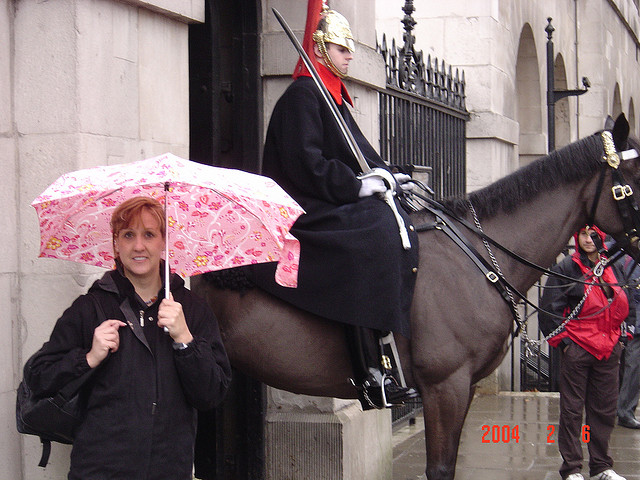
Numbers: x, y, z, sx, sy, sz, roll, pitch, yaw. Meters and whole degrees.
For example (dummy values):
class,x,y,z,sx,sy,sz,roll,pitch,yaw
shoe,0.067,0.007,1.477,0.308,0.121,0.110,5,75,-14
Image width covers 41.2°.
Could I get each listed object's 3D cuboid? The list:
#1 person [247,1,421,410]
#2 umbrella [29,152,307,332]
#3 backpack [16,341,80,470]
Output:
class,x,y,z,sx,sy,sz,roll,pitch,yaw
person,0.115,-0.268,5.471,0.992,2.719,0.459,-4,-5,10
umbrella,-0.772,-0.103,4.592,1.060,0.772,1.100,-2,-17,24
backpack,-1.408,0.863,4.393,0.252,0.656,0.452,1,-7,-41
